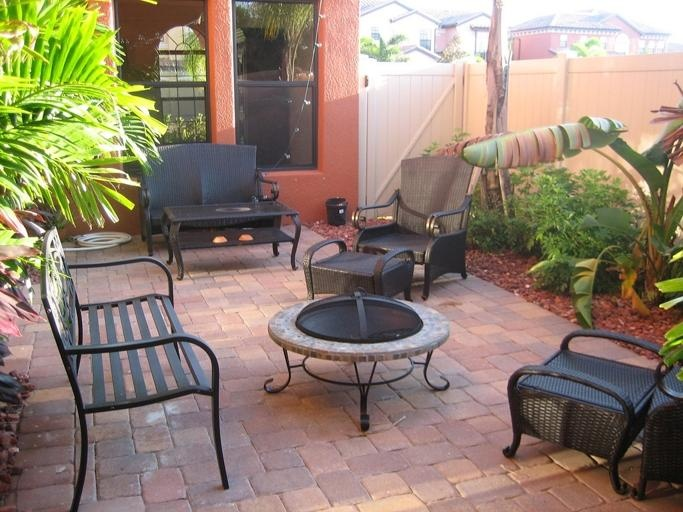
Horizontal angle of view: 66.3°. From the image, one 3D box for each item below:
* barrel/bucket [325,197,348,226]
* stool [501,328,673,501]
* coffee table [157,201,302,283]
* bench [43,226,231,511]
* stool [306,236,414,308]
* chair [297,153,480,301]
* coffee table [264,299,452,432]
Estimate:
[{"bbox_3d":[-0.049,-0.738,8.680,0.396,0.434,0.430,0,19,0],"label":"barrel/bucket"},{"bbox_3d":[1.449,0.837,3.121,0.714,0.686,0.708,10,22,33],"label":"stool"},{"bbox_3d":[-1.558,-0.354,6.677,1.751,0.782,1.052,-4,25,-17],"label":"coffee table"},{"bbox_3d":[-1.442,0.790,3.718,0.801,0.966,1.491,-6,20,-23],"label":"bench"},{"bbox_3d":[0.142,0.120,5.176,0.827,0.502,0.696,8,18,30],"label":"stool"},{"bbox_3d":[0.523,-0.358,5.633,1.287,1.607,2.142,10,15,35],"label":"chair"},{"bbox_3d":[0.087,0.702,3.715,1.353,0.671,0.898,1,19,10],"label":"coffee table"}]
